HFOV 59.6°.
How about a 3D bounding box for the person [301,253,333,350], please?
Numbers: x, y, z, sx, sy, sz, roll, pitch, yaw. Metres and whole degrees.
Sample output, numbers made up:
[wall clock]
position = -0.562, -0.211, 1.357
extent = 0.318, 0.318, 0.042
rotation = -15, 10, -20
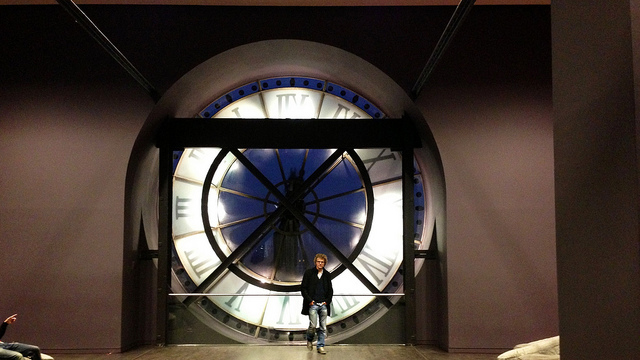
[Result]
[person]
position = -0.065, 2.347, 10.786
extent = 0.593, 1.664, 0.767
rotation = -1, -30, 1
